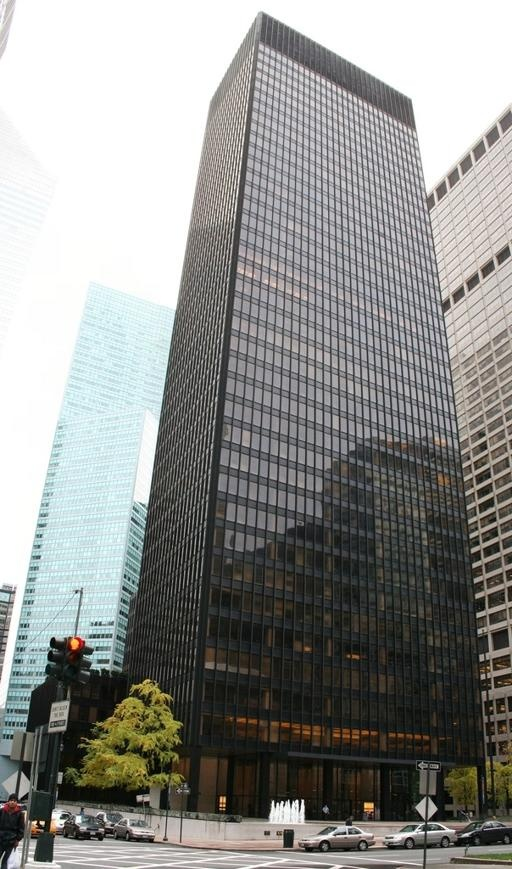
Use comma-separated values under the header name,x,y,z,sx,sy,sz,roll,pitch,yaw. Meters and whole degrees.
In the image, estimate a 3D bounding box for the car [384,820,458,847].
name,x,y,z,sx,sy,sz,roll,pitch,yaw
car,9.545,22.788,37.238,3.133,1.313,5.067,-8,-27,22

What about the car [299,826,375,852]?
name,x,y,z,sx,sy,sz,roll,pitch,yaw
car,4.483,21.912,35.347,1.340,1.030,5.146,-20,-33,41

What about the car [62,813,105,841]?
name,x,y,z,sx,sy,sz,roll,pitch,yaw
car,-9.878,22.453,37.344,1.614,1.204,3.459,15,-28,-25

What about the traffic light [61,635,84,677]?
name,x,y,z,sx,sy,sz,roll,pitch,yaw
traffic light,-2.614,3.165,9.315,0.290,0.583,0.460,10,-24,-16

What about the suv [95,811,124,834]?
name,x,y,z,sx,sy,sz,roll,pitch,yaw
suv,-9.620,25.051,42.701,1.513,1.265,2.759,14,-43,-21
